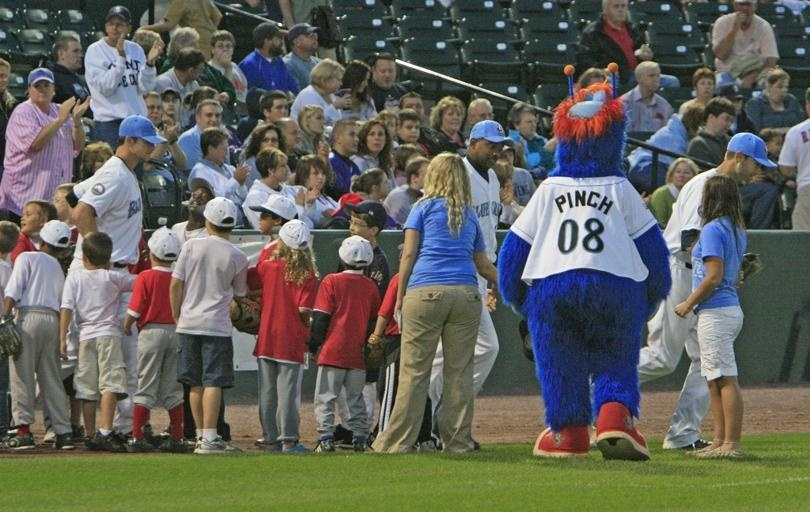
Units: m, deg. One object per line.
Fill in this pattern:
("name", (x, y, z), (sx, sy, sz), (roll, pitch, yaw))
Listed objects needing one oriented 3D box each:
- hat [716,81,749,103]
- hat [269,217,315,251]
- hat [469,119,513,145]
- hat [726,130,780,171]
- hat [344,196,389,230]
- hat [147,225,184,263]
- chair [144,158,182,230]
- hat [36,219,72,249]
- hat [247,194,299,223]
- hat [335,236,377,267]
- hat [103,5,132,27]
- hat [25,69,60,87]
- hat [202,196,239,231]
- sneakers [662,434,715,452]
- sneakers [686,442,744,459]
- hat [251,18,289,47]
("hat", (4.337, -2.161, 24.909), (0.419, 0.257, 0.547), (-1, 5, -29))
("hat", (-1.161, -0.219, 19.182), (0.357, 0.204, 0.234), (13, 35, -42))
("hat", (0.855, -1.272, 19.334), (0.389, 0.174, 0.263), (2, 5, 11))
("hat", (3.505, -1.086, 19.177), (0.540, 0.240, 0.306), (18, 16, -3))
("hat", (-0.432, -0.421, 19.448), (0.411, 0.298, 0.237), (0, -5, -5))
("hat", (-2.520, -0.143, 19.319), (0.293, 0.362, 0.156), (3, -41, -28))
("chair", (-2.782, -0.697, 21.232), (0.465, 0.798, 0.226), (1, -6, -13))
("hat", (-3.680, -0.232, 19.476), (0.254, 0.175, 0.342), (0, 18, -44))
("hat", (-1.421, -0.503, 19.745), (0.458, 0.210, 0.267), (5, 2, -4))
("hat", (-0.532, -0.031, 19.185), (0.286, 0.157, 0.341), (8, 26, -12))
("hat", (-3.451, -2.859, 22.289), (0.213, 0.230, 0.326), (-1, -5, 4))
("hat", (-4.163, -2.021, 21.178), (0.242, 0.149, 0.302), (-1, -5, -13))
("hat", (-1.911, -0.433, 19.172), (0.284, 0.192, 0.353), (0, 26, -22))
("sneakers", (2.864, 1.884, 19.017), (0.531, 0.176, 0.163), (-5, 0, 5))
("sneakers", (3.088, 1.919, 18.601), (0.507, 0.166, 0.166), (-1, -13, 9))
("hat", (-1.765, -2.815, 23.712), (0.427, 0.202, 0.275), (-19, 14, -11))
